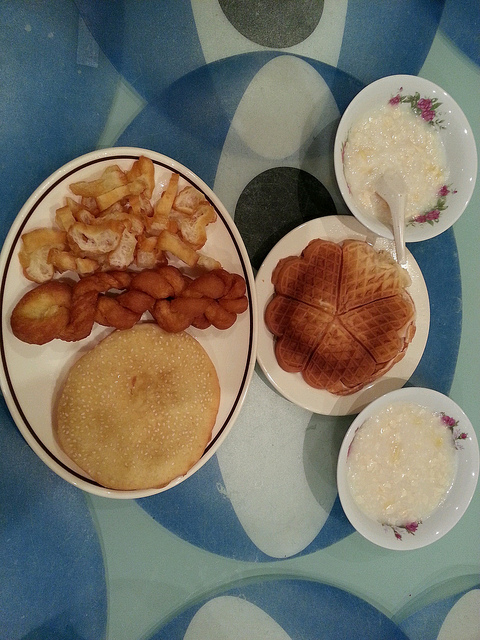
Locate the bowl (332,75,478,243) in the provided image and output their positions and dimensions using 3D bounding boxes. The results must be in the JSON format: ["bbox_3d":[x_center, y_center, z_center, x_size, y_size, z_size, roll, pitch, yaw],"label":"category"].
[{"bbox_3d":[0.303,-0.290,1.057,0.279,0.120,0.270,1,78,-6],"label":"bowl"}]

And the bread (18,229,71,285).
[{"bbox_3d":[-0.345,-0.109,0.988,0.089,0.025,0.091,14,89,-35],"label":"bread"}]

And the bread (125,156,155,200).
[{"bbox_3d":[-0.177,-0.253,1.003,0.050,0.015,0.057,35,113,-1],"label":"bread"}]

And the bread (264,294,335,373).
[{"bbox_3d":[0.103,0.020,1.063,0.137,0.033,0.139,27,93,2],"label":"bread"}]

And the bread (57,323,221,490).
[{"bbox_3d":[-0.182,0.155,1.013,0.272,0.079,0.297,18,77,-2],"label":"bread"}]

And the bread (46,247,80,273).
[{"bbox_3d":[-0.311,-0.103,0.990,0.044,0.014,0.042,29,86,4],"label":"bread"}]

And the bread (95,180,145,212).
[{"bbox_3d":[-0.213,-0.219,0.995,0.104,0.028,0.039,-29,86,-2],"label":"bread"}]

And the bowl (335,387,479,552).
[{"bbox_3d":[0.326,0.302,1.216,0.317,0.086,0.341,-3,97,-23],"label":"bowl"}]

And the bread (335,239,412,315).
[{"bbox_3d":[0.256,-0.071,1.124,0.138,0.038,0.143,-14,89,-8],"label":"bread"}]
